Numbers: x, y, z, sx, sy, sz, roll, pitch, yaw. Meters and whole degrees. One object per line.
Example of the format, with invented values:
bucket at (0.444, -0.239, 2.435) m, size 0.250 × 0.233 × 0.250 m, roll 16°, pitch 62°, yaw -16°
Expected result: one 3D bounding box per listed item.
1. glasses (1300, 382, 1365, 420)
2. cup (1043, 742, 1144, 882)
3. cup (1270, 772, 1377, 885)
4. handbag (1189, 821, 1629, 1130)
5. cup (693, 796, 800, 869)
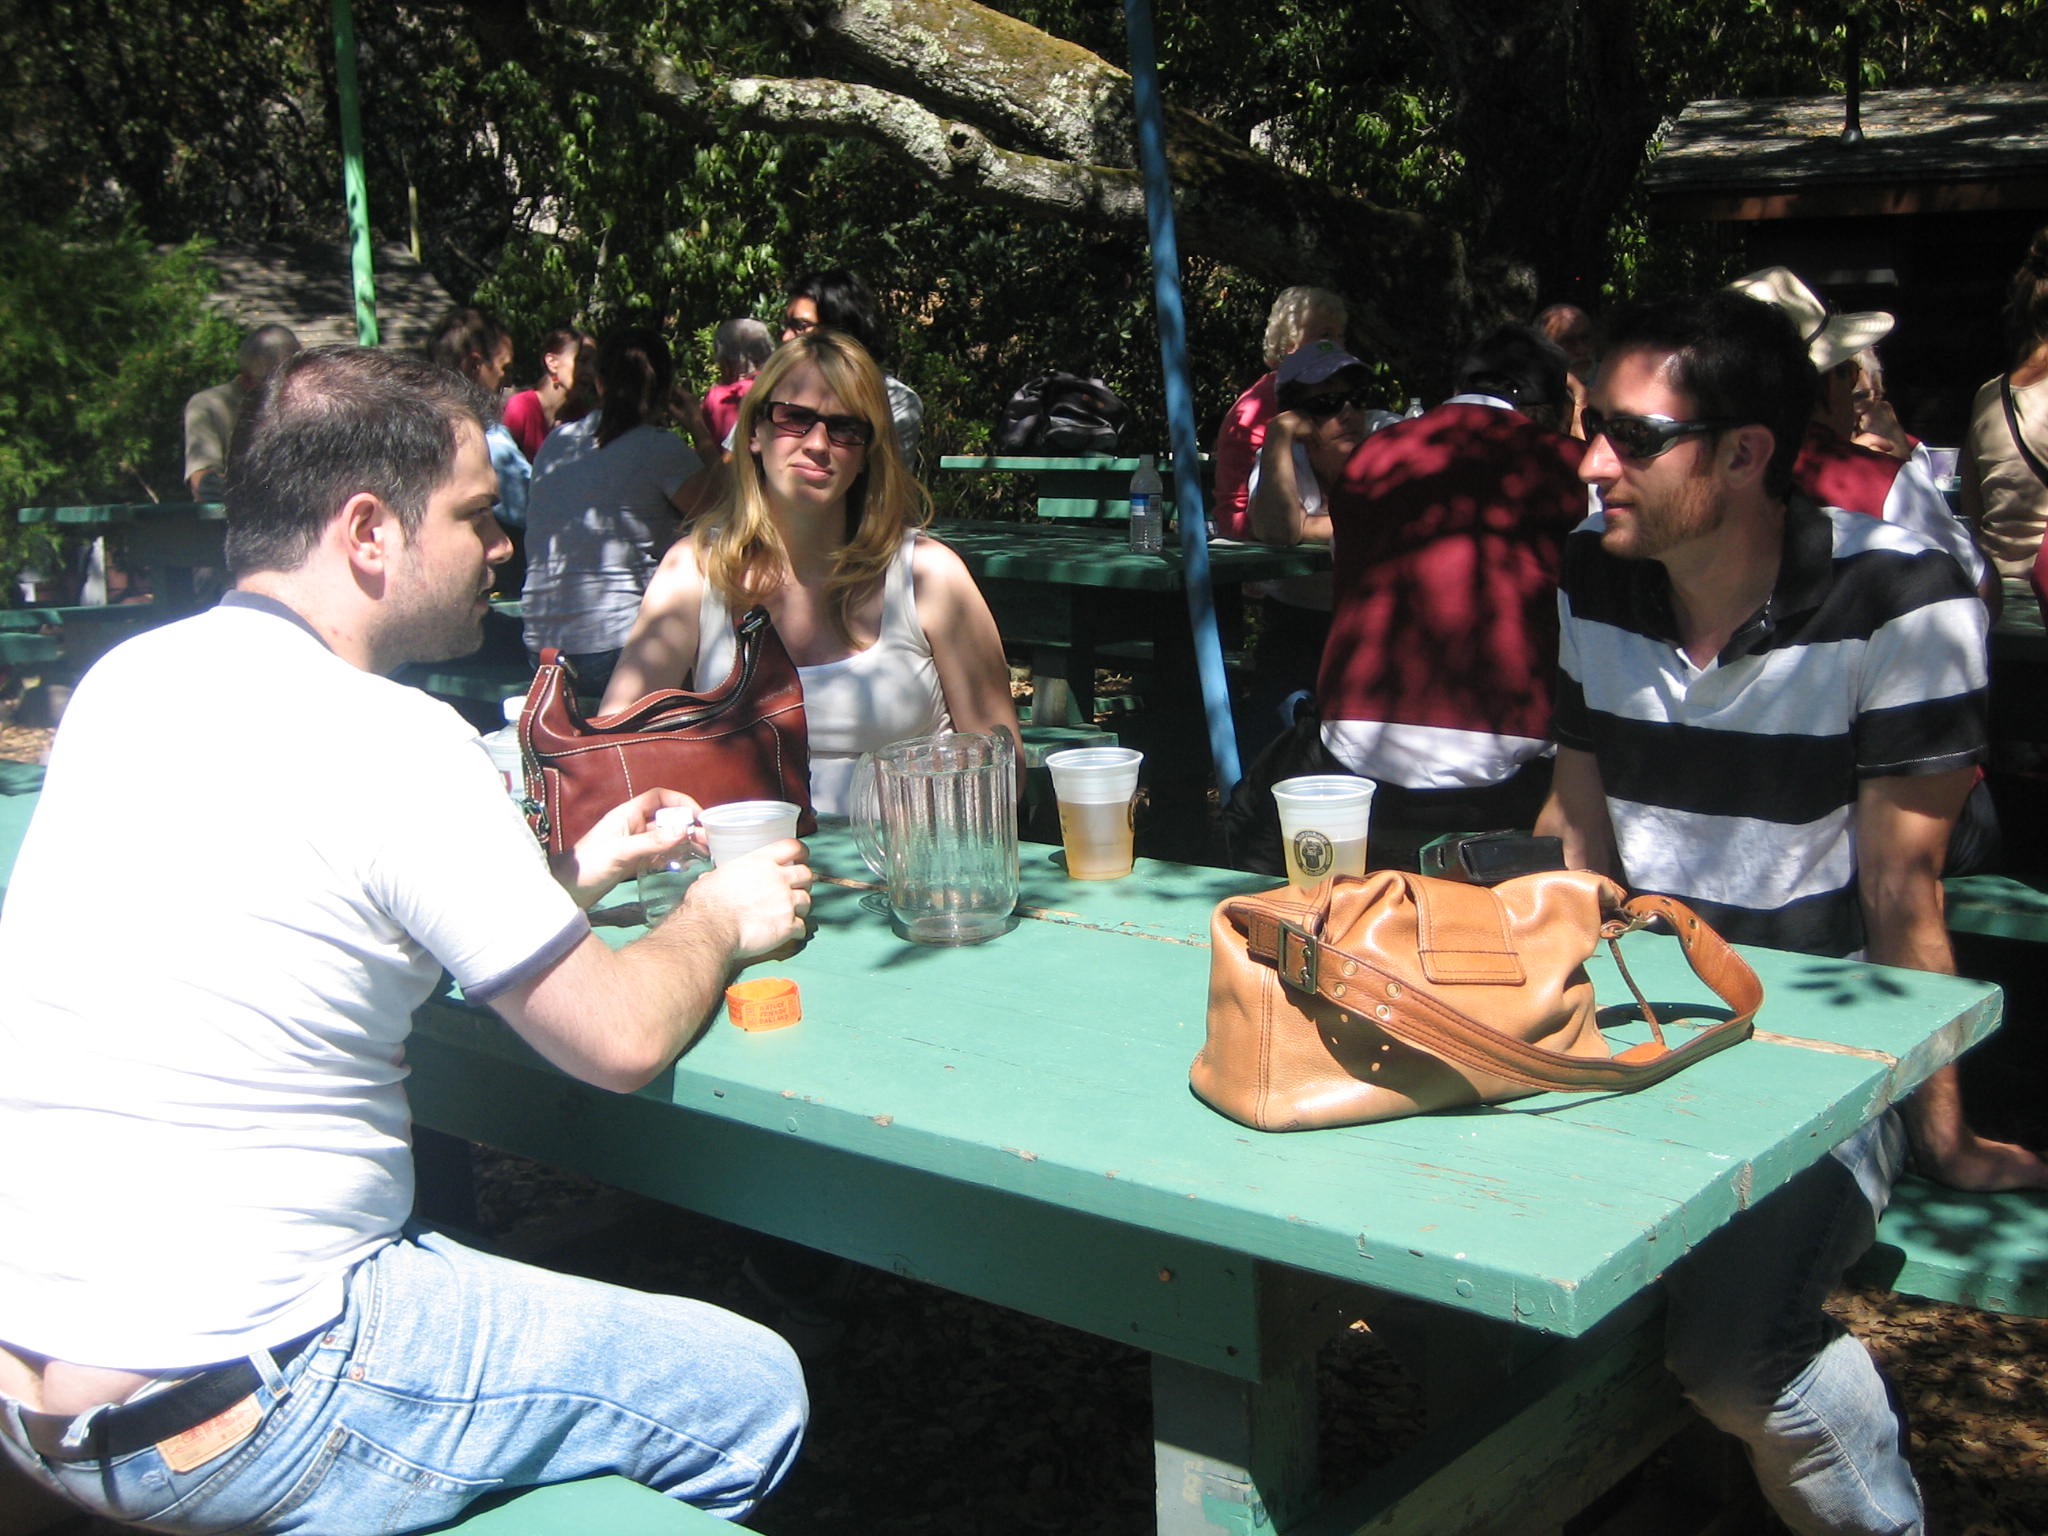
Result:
glasses at (1.180, -1.408, 6.183) m, size 0.270 × 0.132 × 0.170 m, roll -4°, pitch 4°, yaw -19°
cup at (0.133, 0.067, 2.940) m, size 0.202 × 0.244 × 0.206 m, roll -2°, pitch 11°, yaw 0°
cup at (0.476, 0.088, 2.578) m, size 0.156 × 0.143 × 0.166 m, roll -5°, pitch 4°, yaw 0°
handbag at (0.447, 0.127, 1.874) m, size 0.495 × 0.299 × 0.278 m, roll -3°, pitch 2°, yaw -22°
cup at (-0.464, 0.106, 2.652) m, size 0.112 × 0.078 × 0.118 m, roll -1°, pitch 3°, yaw 0°
